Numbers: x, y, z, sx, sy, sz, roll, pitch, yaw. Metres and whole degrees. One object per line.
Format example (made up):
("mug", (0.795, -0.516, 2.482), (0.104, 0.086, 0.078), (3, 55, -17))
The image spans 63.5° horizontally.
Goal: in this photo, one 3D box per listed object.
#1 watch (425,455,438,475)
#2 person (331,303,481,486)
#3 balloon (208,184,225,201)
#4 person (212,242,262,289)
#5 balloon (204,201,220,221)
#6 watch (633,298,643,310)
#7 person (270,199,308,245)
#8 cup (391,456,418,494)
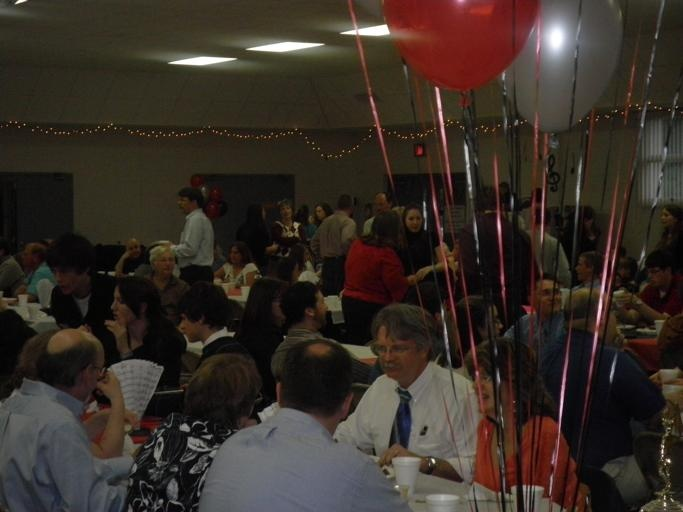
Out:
("watch", (0.353, 0.833, 2.194), (0.025, 0.062, 0.043), (2, -11, 3))
("person", (0.284, 0.552, 2.761), (0.628, 1.131, 0.657), (3, -3, -41))
("balloon", (-2.297, -1.116, 10.008), (0.279, 0.317, 0.341), (17, -9, -14))
("person", (-1.327, 0.127, 6.822), (0.647, 0.557, 0.439), (3, 4, 22))
("balloon", (-2.283, -0.788, 9.712), (0.235, 0.310, 0.250), (-26, -13, -3))
("watch", (2.499, 0.395, 4.666), (0.045, 0.056, 0.057), (-1, -11, 12))
("person", (-0.798, -0.467, 8.387), (0.466, 0.799, 0.395), (-1, -9, -24))
("cup", (0.225, 0.759, 1.944), (0.100, 0.135, 0.112), (-1, -9, 3))
